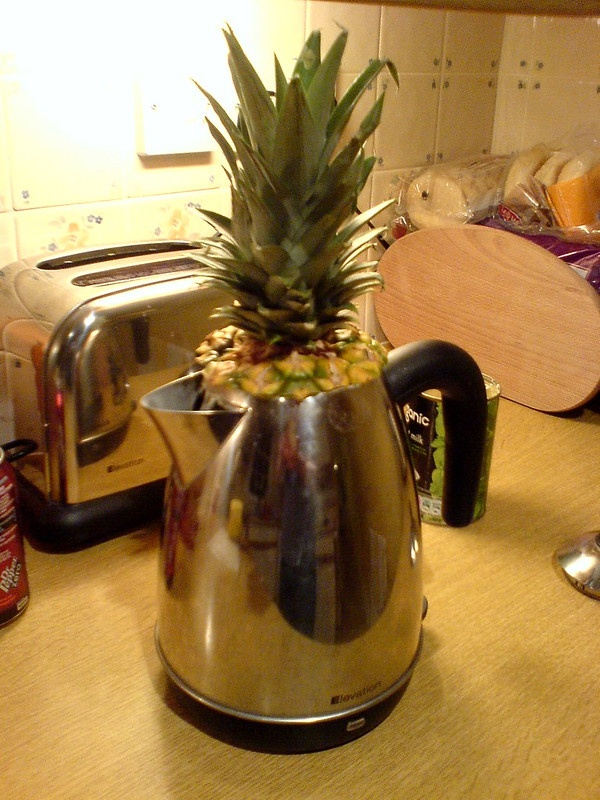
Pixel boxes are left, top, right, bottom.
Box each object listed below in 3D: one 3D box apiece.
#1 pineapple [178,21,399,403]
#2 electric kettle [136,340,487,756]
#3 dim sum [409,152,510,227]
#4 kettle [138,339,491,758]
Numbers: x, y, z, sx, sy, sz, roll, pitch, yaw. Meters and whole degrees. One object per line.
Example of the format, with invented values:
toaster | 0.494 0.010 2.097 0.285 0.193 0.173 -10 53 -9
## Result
pineapple | -0.006 -0.091 0.294 0.096 0.149 0.183 -4 20 -9
electric kettle | 0.019 0.068 0.343 0.193 0.196 0.145 -7 19 -22
dim sum | 0.218 -0.282 0.843 0.137 0.086 0.096 0 20 2
kettle | 0.004 0.051 0.384 0.205 0.199 0.152 -9 28 -21
